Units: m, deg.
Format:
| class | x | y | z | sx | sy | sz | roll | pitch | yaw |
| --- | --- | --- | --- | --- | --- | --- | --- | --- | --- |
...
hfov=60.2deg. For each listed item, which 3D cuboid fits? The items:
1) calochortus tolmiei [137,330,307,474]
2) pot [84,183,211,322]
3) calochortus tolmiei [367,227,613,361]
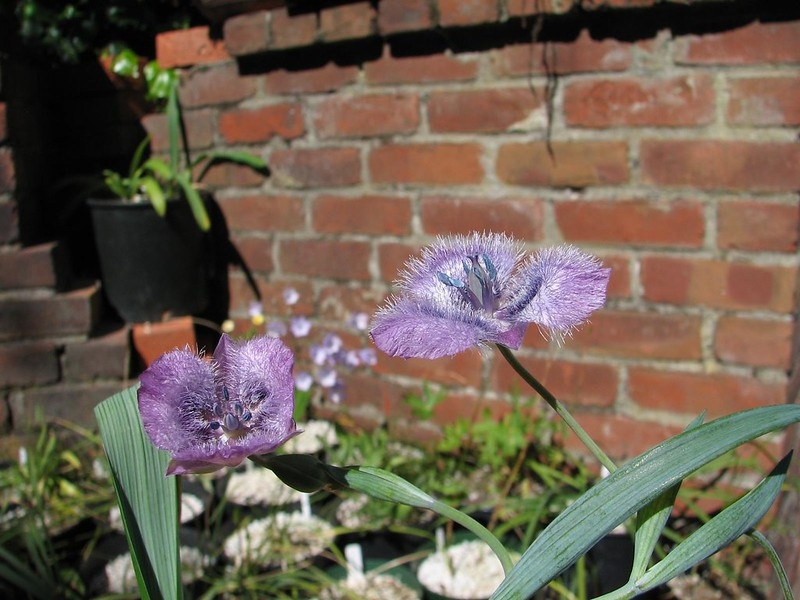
| class | x | y | z | sx | sy | sz | roll | pitch | yaw |
| --- | --- | --- | --- | --- | --- | --- | --- | --- | --- |
| calochortus tolmiei | -0.245 | 0.140 | 0.883 | 0.186 | 0.082 | 0.211 | -9 | 62 | 3 |
| pot | -0.491 | -0.080 | 1.293 | 0.153 | 0.169 | 0.157 | -1 | 2 | 0 |
| calochortus tolmiei | 0.103 | -0.049 | 0.929 | 0.240 | 0.121 | 0.228 | -34 | 43 | -25 |
